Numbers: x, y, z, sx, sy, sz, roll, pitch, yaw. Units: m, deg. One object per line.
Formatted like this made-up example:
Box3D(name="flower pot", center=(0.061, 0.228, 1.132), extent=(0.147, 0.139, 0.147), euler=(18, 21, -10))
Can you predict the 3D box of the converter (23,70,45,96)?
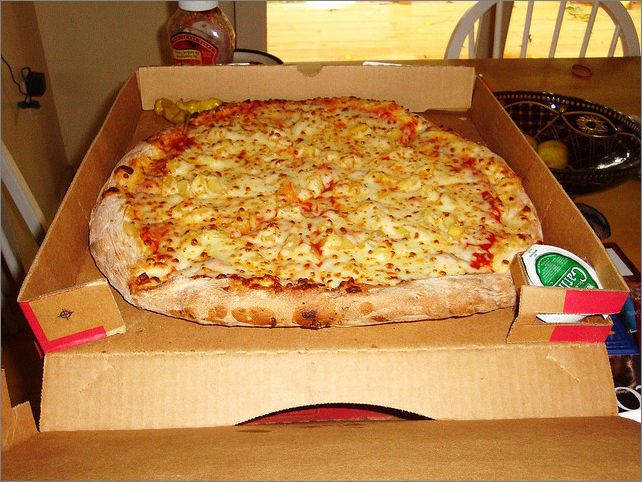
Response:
Box3D(name="converter", center=(-1.721, -0.951, 3.788), extent=(0.138, 0.156, 0.058), euler=(-1, -6, -15))
